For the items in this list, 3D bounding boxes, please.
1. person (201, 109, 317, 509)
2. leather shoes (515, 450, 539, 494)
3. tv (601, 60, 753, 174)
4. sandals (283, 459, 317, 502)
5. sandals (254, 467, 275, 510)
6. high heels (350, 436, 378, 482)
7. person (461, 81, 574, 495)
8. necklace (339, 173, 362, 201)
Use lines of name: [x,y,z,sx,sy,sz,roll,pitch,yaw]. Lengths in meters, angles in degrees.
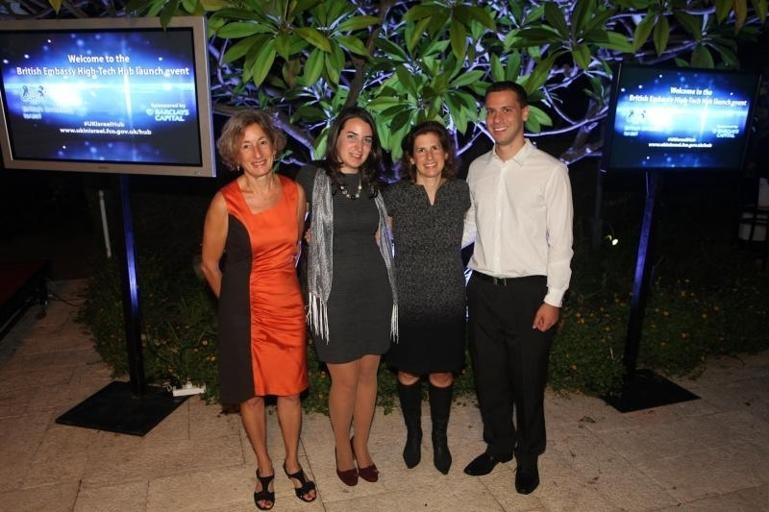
person: [-0.873,0.390,3.633,0.731,2.677,0.829,-4,20,-9]
leather shoes: [1.049,1.587,3.864,0.126,0.136,0.350,-2,25,9]
tv: [2.505,-1.159,4.450,1.476,0.843,0.159,-3,13,-16]
sandals: [-0.638,1.608,3.832,0.133,0.098,0.350,-8,33,-37]
sandals: [-0.868,1.681,3.750,0.106,0.111,0.306,1,7,-7]
high heels: [-0.179,1.553,4.051,0.139,0.168,0.398,1,18,-30]
person: [0.945,0.247,3.748,0.743,2.844,0.919,1,20,5]
necklace: [-0.245,-0.484,3.650,0.176,0.172,0.068,-5,0,-10]
